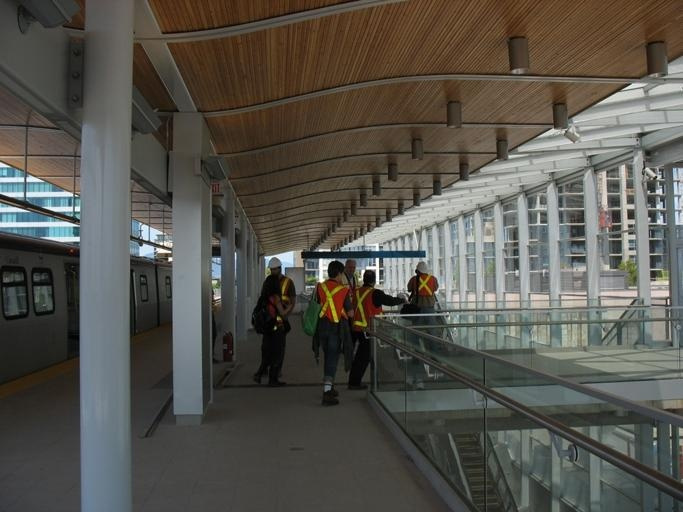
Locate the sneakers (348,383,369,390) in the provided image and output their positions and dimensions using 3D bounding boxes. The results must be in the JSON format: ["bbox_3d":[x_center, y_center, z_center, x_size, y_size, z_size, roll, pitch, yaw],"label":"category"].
[{"bbox_3d":[0.292,2.337,9.852,0.361,0.161,0.128,1,-7,-16],"label":"sneakers"}]

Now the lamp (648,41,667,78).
[{"bbox_3d":[4.227,-2.658,7.378,0.239,0.470,0.315,-2,-1,29],"label":"lamp"}]

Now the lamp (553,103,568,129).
[{"bbox_3d":[3.820,-2.477,9.646,0.228,0.409,0.300,-1,-1,17],"label":"lamp"}]

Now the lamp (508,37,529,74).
[{"bbox_3d":[2.269,-2.598,7.074,0.255,0.406,0.222,-1,-1,13],"label":"lamp"}]

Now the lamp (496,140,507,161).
[{"bbox_3d":[3.506,-2.378,12.073,0.226,0.359,0.443,-1,0,15],"label":"lamp"}]

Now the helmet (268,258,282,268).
[{"bbox_3d":[-1.158,0.124,9.367,0.194,0.159,0.260,-2,0,-5],"label":"helmet"}]

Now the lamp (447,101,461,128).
[{"bbox_3d":[1.885,-2.417,9.237,0.241,0.331,0.161,-1,-1,-1],"label":"lamp"}]

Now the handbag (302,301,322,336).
[{"bbox_3d":[-0.482,0.961,8.591,0.273,0.548,0.245,-1,-1,-12],"label":"handbag"}]

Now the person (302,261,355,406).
[{"bbox_3d":[-0.214,1.207,8.627,0.726,2.270,0.480,-1,-1,0],"label":"person"}]

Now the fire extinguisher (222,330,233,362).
[{"bbox_3d":[-2.483,1.960,11.893,0.191,0.624,0.345,-1,-1,-15],"label":"fire extinguisher"}]
